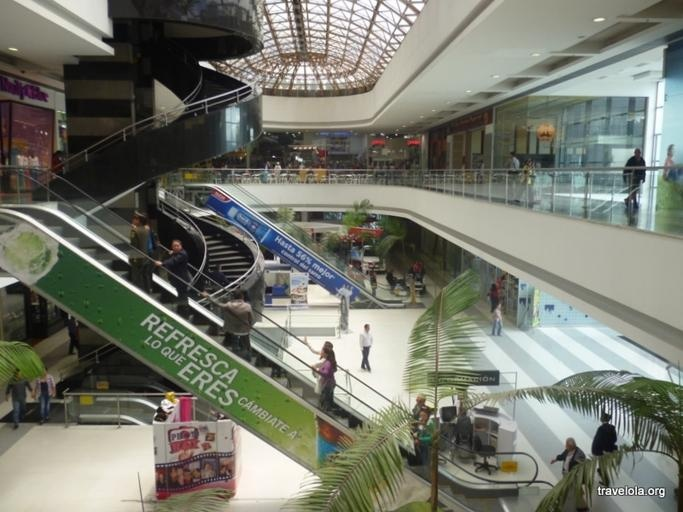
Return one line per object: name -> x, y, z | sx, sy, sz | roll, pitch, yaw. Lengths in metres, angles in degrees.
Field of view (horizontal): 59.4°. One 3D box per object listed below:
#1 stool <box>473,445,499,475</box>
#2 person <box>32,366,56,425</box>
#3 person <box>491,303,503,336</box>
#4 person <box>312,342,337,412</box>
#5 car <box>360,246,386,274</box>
stool -> 3.120, 4.474, 13.055 | 0.579, 0.707, 0.568 | 1, 3, 5
person -> -7.285, 3.376, 14.616 | 0.588, 1.317, 0.402 | -12, 19, -30
person -> 5.825, 2.337, 22.385 | 0.346, 1.138, 0.955 | 4, 11, 15
person -> -0.375, 2.593, 12.611 | 0.485, 1.012, 1.105 | 1, 11, -1
car -> 1.680, 0.217, 34.203 | 1.024, 1.122, 1.801 | 0, -1, -10
